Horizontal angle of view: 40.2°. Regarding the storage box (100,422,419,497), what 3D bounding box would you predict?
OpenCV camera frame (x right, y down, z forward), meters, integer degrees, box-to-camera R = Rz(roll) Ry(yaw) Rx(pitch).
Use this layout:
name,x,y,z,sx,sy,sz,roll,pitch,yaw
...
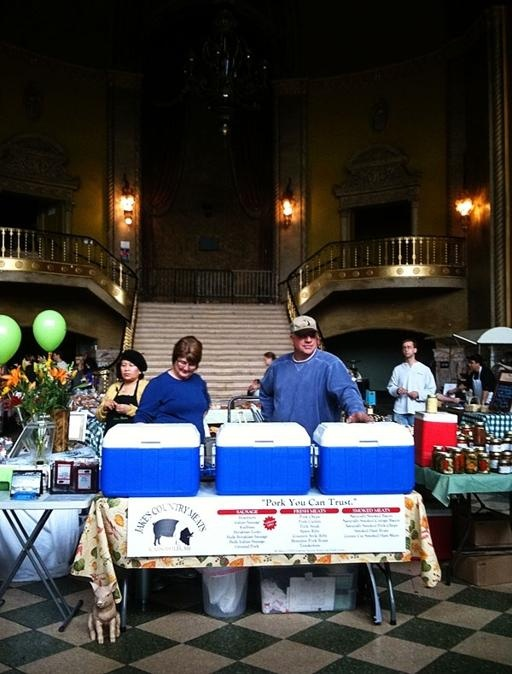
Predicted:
name,x,y,z,sx,sy,sz,roll,pitch,yaw
storage box,0.019,0.559,3.165,1.410,0.357,0.172,-1,11,-8

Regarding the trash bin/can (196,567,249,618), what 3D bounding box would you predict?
name,x,y,z,sx,sy,sz,roll,pitch,yaw
trash bin/can,-0.158,1.304,3.662,0.266,0.263,0.253,2,3,1

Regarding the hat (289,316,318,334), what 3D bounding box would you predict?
name,x,y,z,sx,sy,sz,roll,pitch,yaw
hat,0.268,-0.077,3.902,0.131,0.097,0.218,1,11,2

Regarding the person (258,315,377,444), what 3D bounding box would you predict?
name,x,y,z,sx,sy,sz,roll,pitch,yaw
person,0.286,0.208,3.811,0.648,0.822,0.656,-2,1,-2

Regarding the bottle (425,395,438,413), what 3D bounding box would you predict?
name,x,y,z,sx,sy,sz,roll,pitch,yaw
bottle,1.044,0.394,4.142,0.088,0.126,0.086,-1,1,0

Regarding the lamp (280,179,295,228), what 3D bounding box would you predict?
name,x,y,z,sx,sy,sz,roll,pitch,yaw
lamp,0.691,-2.978,15.626,0.293,1.072,0.348,-6,13,-27

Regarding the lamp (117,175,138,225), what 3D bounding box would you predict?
name,x,y,z,sx,sy,sz,roll,pitch,yaw
lamp,-2.743,-2.928,15.106,0.322,1.048,0.326,0,11,-3
